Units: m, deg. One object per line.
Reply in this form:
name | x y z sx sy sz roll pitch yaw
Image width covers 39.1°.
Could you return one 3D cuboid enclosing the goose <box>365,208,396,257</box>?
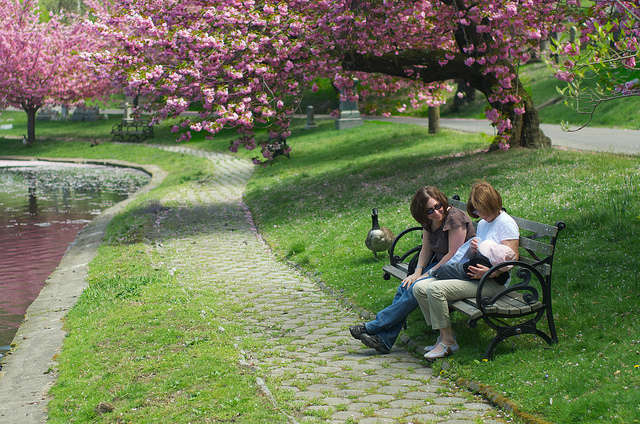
goose | 1.684 0.567 24.898 0.787 1.379 0.583 -2 11 3
